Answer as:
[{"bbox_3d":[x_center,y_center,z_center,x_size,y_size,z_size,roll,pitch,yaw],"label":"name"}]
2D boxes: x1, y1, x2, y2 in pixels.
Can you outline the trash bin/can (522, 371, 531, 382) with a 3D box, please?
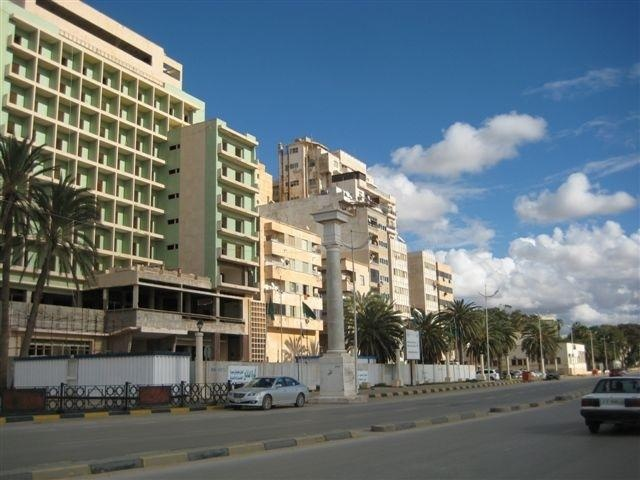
[{"bbox_3d":[27.385,18.266,81.744,0.953,1.153,1.962,-10,-20,18],"label":"trash bin/can"}]
